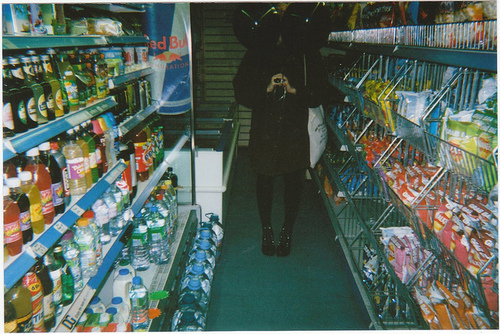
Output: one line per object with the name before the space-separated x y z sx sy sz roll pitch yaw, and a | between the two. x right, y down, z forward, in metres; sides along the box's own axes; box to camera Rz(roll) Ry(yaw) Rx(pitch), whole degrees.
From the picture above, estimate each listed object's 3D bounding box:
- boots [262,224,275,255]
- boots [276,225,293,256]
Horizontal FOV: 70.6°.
boots | 0.187 0.747 3.651 0.107 0.315 0.124 -1 -12 4
boots | 0.349 0.769 3.608 0.118 0.350 0.138 3 -36 9
